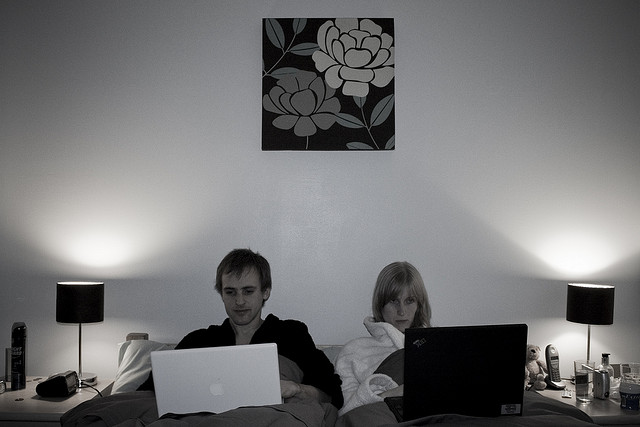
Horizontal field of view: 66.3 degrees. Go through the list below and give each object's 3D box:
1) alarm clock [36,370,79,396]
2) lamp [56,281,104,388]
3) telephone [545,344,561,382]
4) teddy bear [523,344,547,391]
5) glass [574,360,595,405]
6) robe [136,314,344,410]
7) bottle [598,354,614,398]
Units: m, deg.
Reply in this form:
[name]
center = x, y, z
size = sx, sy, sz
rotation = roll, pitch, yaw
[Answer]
[alarm clock]
center = -1.807, 1.182, 3.490
size = 0.197, 0.120, 0.239
rotation = 5, 1, 20
[lamp]
center = -1.681, 0.854, 3.571
size = 0.307, 0.749, 0.358
rotation = 0, -6, 4
[telephone]
center = 1.706, 1.103, 3.595
size = 0.091, 0.259, 0.161
rotation = -4, -9, 26
[teddy bear]
center = 1.547, 1.117, 3.531
size = 0.214, 0.324, 0.223
rotation = -7, -11, 37
[glass]
center = 1.829, 1.175, 3.391
size = 0.183, 0.268, 0.105
rotation = 2, -8, -17
[robe]
center = -0.255, 0.992, 3.563
size = 1.075, 0.404, 0.611
rotation = -2, -16, 7
[bottle]
center = 2.050, 1.146, 3.476
size = 0.068, 0.285, 0.245
rotation = -8, -11, 43
